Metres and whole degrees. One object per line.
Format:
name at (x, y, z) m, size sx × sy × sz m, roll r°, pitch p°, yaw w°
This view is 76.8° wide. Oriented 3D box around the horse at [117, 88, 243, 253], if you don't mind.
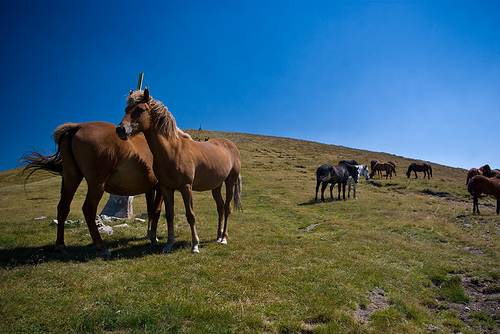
horse at (-3.488, 1.133, 14.691) m, size 1.721 × 5.493 × 6.798 m, roll -5°, pitch -6°, yaw 38°
